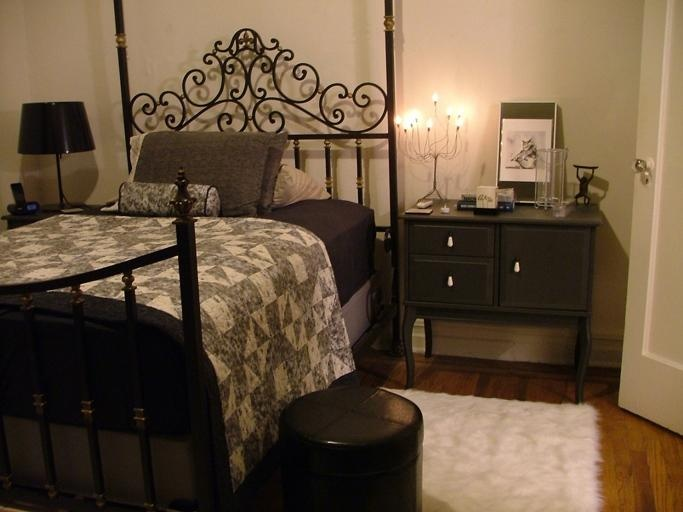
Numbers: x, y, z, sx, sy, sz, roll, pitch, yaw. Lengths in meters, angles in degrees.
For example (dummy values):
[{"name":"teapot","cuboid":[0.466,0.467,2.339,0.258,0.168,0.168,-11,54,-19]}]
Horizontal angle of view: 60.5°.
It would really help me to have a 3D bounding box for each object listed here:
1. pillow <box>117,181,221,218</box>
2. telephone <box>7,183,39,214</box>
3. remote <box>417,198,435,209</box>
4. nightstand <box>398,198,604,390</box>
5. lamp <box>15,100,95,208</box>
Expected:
[{"name":"pillow","cuboid":[-0.814,-0.263,2.752,0.564,0.159,0.178,8,13,28]},{"name":"telephone","cuboid":[-1.785,-0.314,3.264,0.155,0.174,0.100,4,10,30]},{"name":"remote","cuboid":[0.404,-0.256,2.877,0.058,0.024,0.081,0,17,23]},{"name":"nightstand","cuboid":[0.677,0.097,2.971,1.106,1.190,0.762,2,9,15]},{"name":"lamp","cuboid":[-1.657,-0.583,3.392,0.379,0.631,0.393,-2,17,-13]}]
